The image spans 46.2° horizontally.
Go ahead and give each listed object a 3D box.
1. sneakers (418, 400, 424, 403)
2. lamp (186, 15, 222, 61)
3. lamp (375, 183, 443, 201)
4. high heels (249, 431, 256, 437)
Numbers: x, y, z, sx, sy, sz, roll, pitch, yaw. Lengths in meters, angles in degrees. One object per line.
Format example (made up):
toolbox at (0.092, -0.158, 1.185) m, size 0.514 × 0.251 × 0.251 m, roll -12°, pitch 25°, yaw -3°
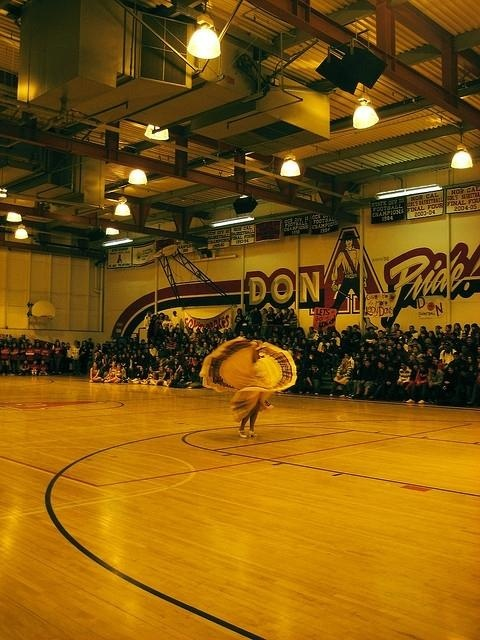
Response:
sneakers at (5.199, 2.362, 16.192) m, size 0.183 × 0.103 × 0.281 m, roll 0°, pitch -4°, yaw 14°
lamp at (-0.474, -3.760, 7.402) m, size 0.349 × 0.341 × 0.326 m, roll 15°, pitch 24°, yaw 3°
lamp at (6.007, -4.535, 19.802) m, size 2.364 × 0.443 × 0.866 m, roll -2°, pitch -5°, yaw 41°
high heels at (0.206, 1.901, 9.315) m, size 0.067 × 0.092 × 0.101 m, roll -1°, pitch -18°, yaw 7°
